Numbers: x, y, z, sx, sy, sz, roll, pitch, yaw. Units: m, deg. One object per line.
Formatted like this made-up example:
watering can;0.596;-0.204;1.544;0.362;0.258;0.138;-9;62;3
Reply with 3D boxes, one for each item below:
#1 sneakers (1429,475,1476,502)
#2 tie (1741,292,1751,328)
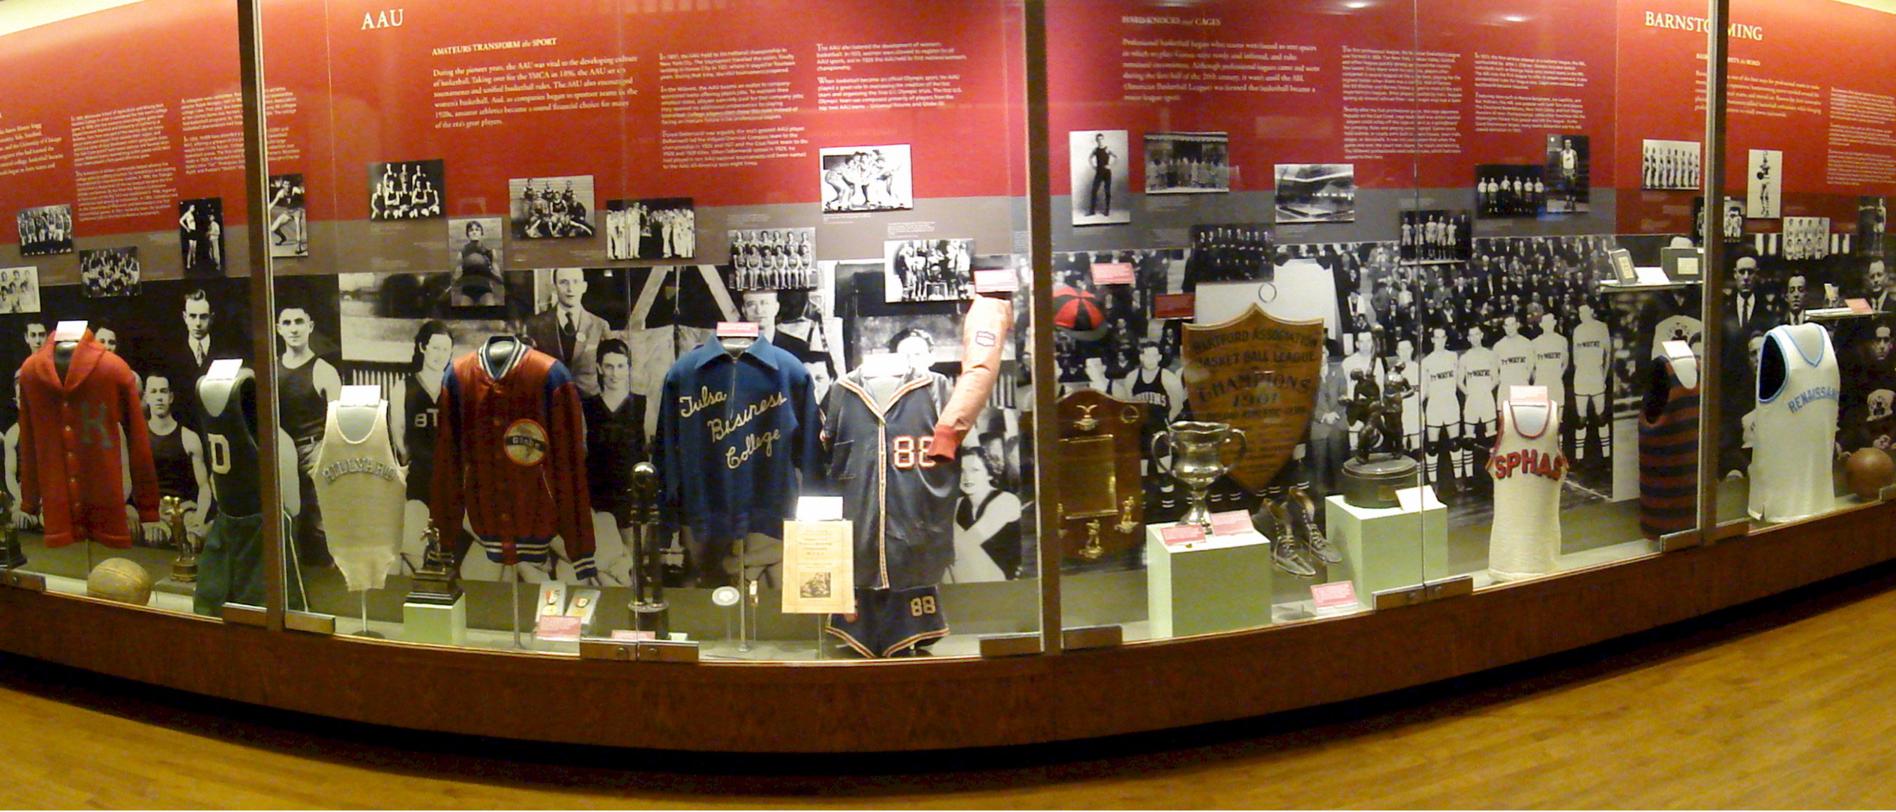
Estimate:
sneakers;3.632;0.593;8.870;0.339;0.168;0.066;0;2;-6
tie;6.006;-0.743;9.335;0.085;0.226;0.014;6;3;0
